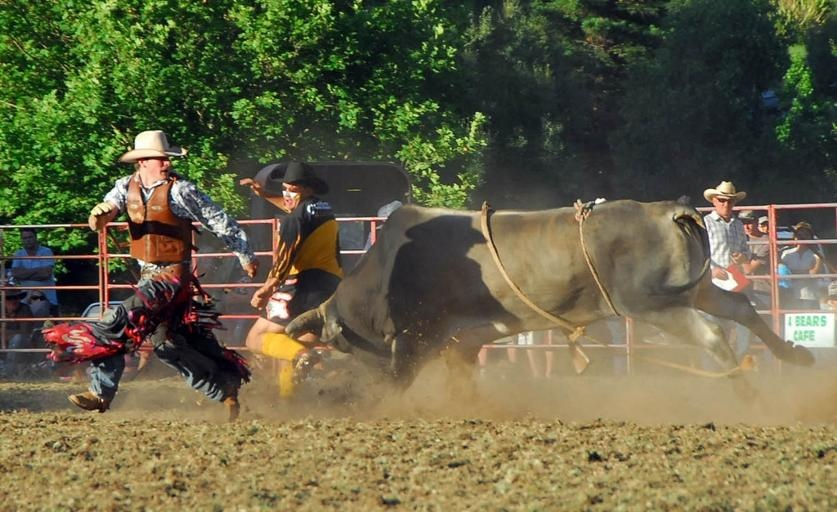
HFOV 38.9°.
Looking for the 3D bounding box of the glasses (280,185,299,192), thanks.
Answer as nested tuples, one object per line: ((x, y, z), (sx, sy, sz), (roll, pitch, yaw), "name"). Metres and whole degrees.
((-1.872, -1.010, 17.368), (0.198, 0.065, 0.168), (1, -10, 45), "glasses")

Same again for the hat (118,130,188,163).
((-3.623, -1.541, 16.345), (0.782, 0.268, 0.645), (-6, 0, 38), "hat")

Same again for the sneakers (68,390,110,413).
((-4.435, 1.991, 16.196), (0.561, 0.203, 0.267), (16, 17, -27), "sneakers")

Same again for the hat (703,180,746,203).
((4.878, -1.094, 18.941), (0.656, 0.232, 0.615), (5, -16, 0), "hat")

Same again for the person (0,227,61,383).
((-6.511, 0.759, 19.785), (0.881, 2.429, 0.886), (-1, -1, -16), "person")
